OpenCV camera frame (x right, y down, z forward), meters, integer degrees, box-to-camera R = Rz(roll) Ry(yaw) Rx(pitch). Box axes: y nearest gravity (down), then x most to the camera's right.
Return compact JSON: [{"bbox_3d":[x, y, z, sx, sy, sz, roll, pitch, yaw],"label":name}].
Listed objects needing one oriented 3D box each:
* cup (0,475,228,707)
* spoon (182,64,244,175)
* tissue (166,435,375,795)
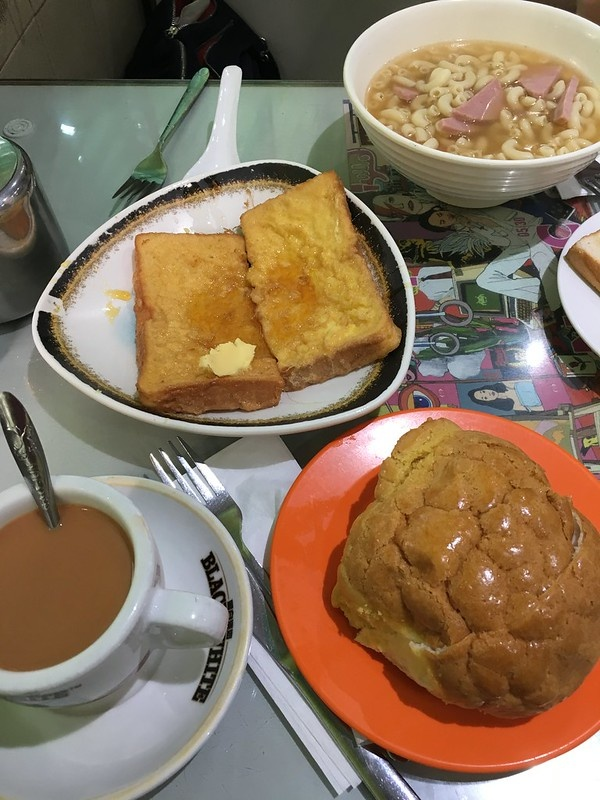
[{"bbox_3d":[-0.185,0.212,0.738,0.207,0.181,0.223,-6,50,7],"label":"cup"},{"bbox_3d":[-0.168,-0.544,1.292,0.104,0.042,0.280,5,69,1],"label":"spoon"},{"bbox_3d":[-0.069,0.269,0.950,0.160,0.031,0.582,-26,64,-22],"label":"tissue"}]
